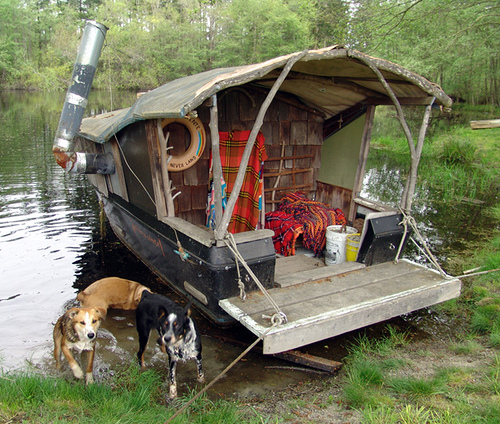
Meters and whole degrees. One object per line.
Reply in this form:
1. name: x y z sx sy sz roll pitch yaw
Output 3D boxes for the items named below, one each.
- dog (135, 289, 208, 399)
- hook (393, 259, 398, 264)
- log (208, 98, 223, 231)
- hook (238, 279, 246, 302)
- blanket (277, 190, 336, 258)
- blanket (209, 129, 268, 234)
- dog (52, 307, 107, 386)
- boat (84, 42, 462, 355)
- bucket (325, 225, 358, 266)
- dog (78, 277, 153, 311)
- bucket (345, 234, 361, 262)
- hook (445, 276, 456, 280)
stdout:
1. dog: -0.845 1.243 4.230 0.753 1.020 0.928 -2 18 -20
2. hook: 2.087 0.704 5.757 0.079 0.050 0.088 6 9 5
3. log: -0.349 -0.496 4.529 0.221 1.212 0.187 18 21 28
4. hook: -0.086 0.877 4.661 0.087 0.299 0.297 4 9 0
5. blanket: 0.940 0.117 6.688 0.704 0.495 1.111 -15 47 -13
6. blanket: -0.251 -0.396 6.514 1.102 1.906 0.196 3 5 18
7. dog: -1.760 1.388 4.199 0.421 0.879 0.865 -2 11 -35
8. boat: 0.432 -0.323 5.994 3.900 3.682 4.271 -2 11 -35
9. bucket: 1.254 0.464 5.954 0.490 0.572 0.503 -1 10 0
10. dog: -1.817 1.249 5.443 0.929 0.589 0.257 8 4 -25
11. bucket: 1.457 0.528 5.784 0.194 0.418 0.198 4 9 -1
12. hook: 2.642 0.869 5.317 0.085 0.022 0.089 3 6 25
